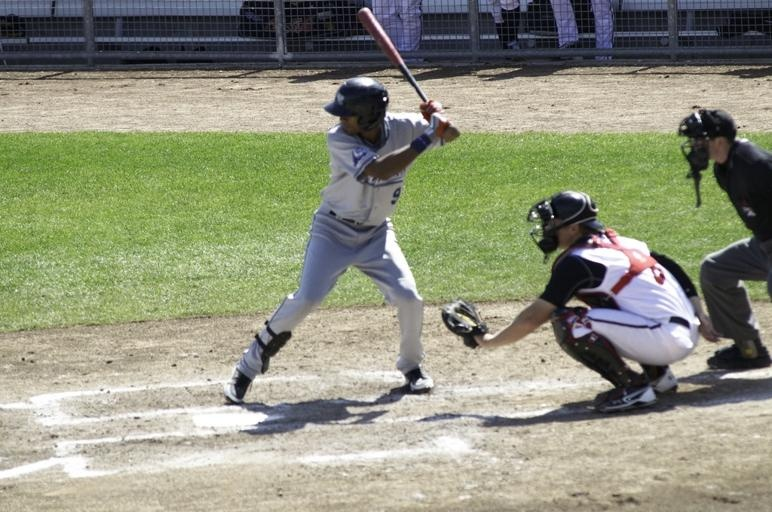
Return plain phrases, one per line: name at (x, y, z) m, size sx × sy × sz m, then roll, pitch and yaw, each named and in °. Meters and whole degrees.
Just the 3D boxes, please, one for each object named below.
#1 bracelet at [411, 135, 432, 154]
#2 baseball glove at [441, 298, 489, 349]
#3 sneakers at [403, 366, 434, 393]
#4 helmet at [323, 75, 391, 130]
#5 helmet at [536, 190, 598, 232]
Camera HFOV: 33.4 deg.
bracelet at (0.334, -1.056, 12.058) m, size 0.208 × 0.074 × 0.151 m, roll -30°, pitch -6°, yaw -47°
baseball glove at (0.763, 0.630, 12.311) m, size 0.497 × 0.164 × 0.418 m, roll 33°, pitch 44°, yaw 7°
sneakers at (0.309, 1.231, 12.623) m, size 0.196 × 0.124 × 0.342 m, roll -4°, pitch 3°, yaw -19°
helmet at (-0.340, -1.471, 12.273) m, size 0.677 × 0.371 × 0.435 m, roll -7°, pitch 20°, yaw 0°
helmet at (1.670, -0.423, 11.986) m, size 0.578 × 0.249 × 0.341 m, roll -10°, pitch 12°, yaw 4°
